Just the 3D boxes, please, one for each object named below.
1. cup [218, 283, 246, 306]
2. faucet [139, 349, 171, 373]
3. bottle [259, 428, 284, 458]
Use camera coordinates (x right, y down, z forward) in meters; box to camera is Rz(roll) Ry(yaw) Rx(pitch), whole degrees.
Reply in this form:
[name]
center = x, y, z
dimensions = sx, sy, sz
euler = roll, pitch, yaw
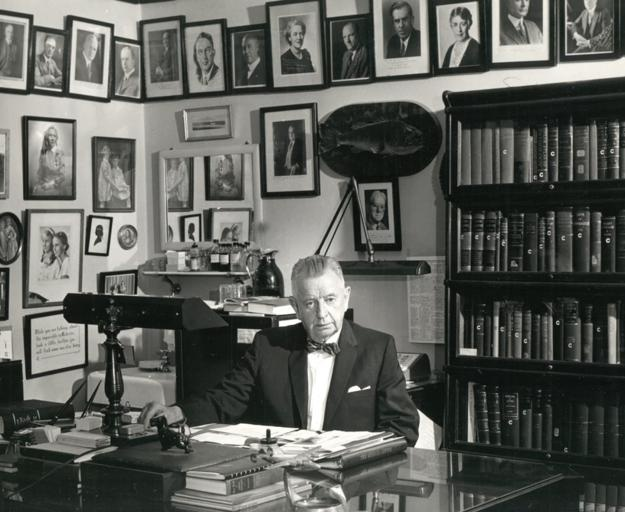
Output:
[cup]
center = -0.548, 0.253, 5.090
dimensions = 0.145, 0.161, 0.144
euler = -1, -1, 0
[faucet]
center = -1.070, 0.727, 5.185
dimensions = 0.204, 0.149, 0.150
euler = 0, -1, 39
[bottle]
center = -0.136, 0.609, 2.398
dimensions = 0.057, 0.078, 0.063
euler = -1, -9, -3
